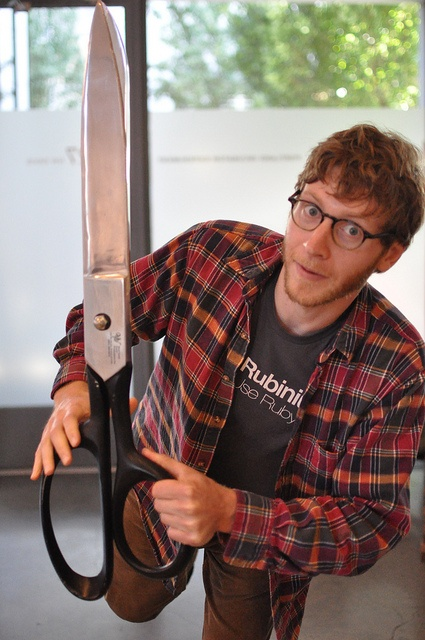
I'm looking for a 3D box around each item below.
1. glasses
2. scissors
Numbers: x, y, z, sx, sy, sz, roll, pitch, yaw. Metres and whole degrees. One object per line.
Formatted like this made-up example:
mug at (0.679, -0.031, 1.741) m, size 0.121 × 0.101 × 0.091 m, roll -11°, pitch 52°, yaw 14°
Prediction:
glasses at (0.219, -0.164, 0.992) m, size 0.167 × 0.070 × 0.077 m, roll 12°, pitch 22°, yaw 14°
scissors at (-0.120, -0.024, 0.746) m, size 0.228 × 0.714 × 0.078 m, roll 5°, pitch 11°, yaw 14°
